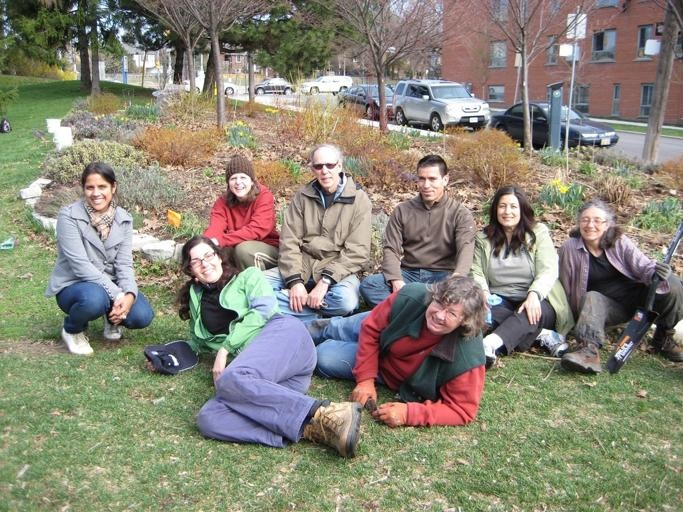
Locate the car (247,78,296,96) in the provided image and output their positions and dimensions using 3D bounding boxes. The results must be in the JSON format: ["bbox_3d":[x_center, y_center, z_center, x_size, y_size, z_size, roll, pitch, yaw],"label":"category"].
[{"bbox_3d":[-4.549,-11.287,34.548,2.035,1.200,5.026,1,16,-13],"label":"car"}]

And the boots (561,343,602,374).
[{"bbox_3d":[1.987,0.850,4.316,0.356,0.211,0.234,-9,20,-41],"label":"boots"}]

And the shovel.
[{"bbox_3d":[2.533,0.359,4.401,0.211,1.145,0.826,15,18,39],"label":"shovel"}]

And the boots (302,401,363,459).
[{"bbox_3d":[-0.045,1.090,3.397,0.374,0.210,0.541,-2,4,-17],"label":"boots"}]

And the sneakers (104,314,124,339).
[{"bbox_3d":[-2.035,0.658,4.708,0.120,0.131,0.311,-3,13,-34],"label":"sneakers"}]

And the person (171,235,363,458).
[{"bbox_3d":[-0.567,0.585,3.808,0.983,1.143,1.665,-2,16,-22],"label":"person"}]

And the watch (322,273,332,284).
[{"bbox_3d":[-0.142,0.208,4.882,0.063,0.075,0.084,34,12,-45],"label":"watch"}]

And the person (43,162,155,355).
[{"bbox_3d":[-2.075,-0.003,4.475,0.759,1.577,0.634,-7,18,-37],"label":"person"}]

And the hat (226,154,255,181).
[{"bbox_3d":[-1.061,-0.939,5.532,0.242,0.272,0.269,-1,5,-4],"label":"hat"}]

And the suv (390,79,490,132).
[{"bbox_3d":[3.218,-4.958,17.170,1.640,1.526,3.151,-4,17,-27],"label":"suv"}]

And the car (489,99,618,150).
[{"bbox_3d":[6.026,-3.732,14.904,3.329,1.308,2.241,11,16,22],"label":"car"}]

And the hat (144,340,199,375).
[{"bbox_3d":[-1.369,0.818,4.276,0.313,0.095,0.266,-12,51,-41],"label":"hat"}]
